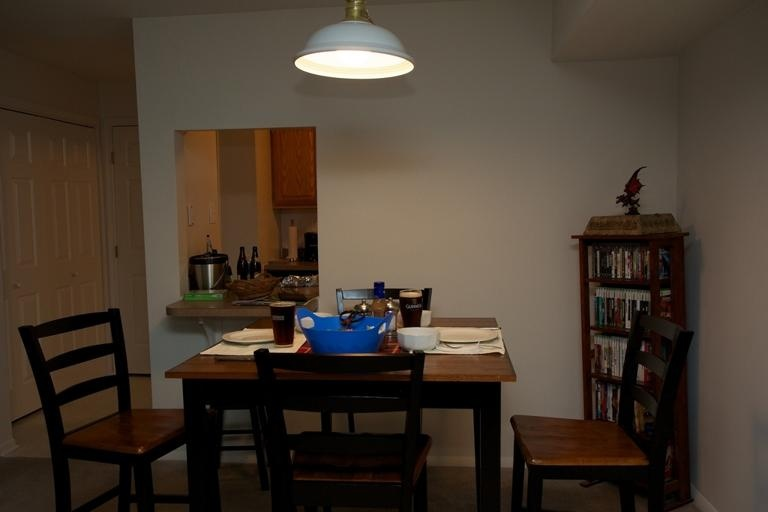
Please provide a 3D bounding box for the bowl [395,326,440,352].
[{"bbox_3d":[0.167,0.429,3.208,0.139,0.069,0.145,-2,-4,0],"label":"bowl"}]

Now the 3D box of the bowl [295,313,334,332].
[{"bbox_3d":[-0.416,0.352,3.443,0.152,0.057,0.156,1,-1,0],"label":"bowl"}]

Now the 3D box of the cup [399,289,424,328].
[{"bbox_3d":[0.149,0.307,3.439,0.133,0.221,0.137,-1,6,0],"label":"cup"}]

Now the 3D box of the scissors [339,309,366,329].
[{"bbox_3d":[-0.171,0.328,3.269,0.097,0.042,0.105,1,7,6],"label":"scissors"}]

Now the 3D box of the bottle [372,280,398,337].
[{"bbox_3d":[-0.002,0.286,3.491,0.144,0.275,0.141,-11,6,1],"label":"bottle"}]

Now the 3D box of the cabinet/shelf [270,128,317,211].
[{"bbox_3d":[-0.990,-0.940,6.791,0.530,0.827,0.141,2,3,19],"label":"cabinet/shelf"}]

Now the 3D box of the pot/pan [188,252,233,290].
[{"bbox_3d":[-1.302,0.121,4.676,0.280,0.285,0.248,1,1,-7],"label":"pot/pan"}]
